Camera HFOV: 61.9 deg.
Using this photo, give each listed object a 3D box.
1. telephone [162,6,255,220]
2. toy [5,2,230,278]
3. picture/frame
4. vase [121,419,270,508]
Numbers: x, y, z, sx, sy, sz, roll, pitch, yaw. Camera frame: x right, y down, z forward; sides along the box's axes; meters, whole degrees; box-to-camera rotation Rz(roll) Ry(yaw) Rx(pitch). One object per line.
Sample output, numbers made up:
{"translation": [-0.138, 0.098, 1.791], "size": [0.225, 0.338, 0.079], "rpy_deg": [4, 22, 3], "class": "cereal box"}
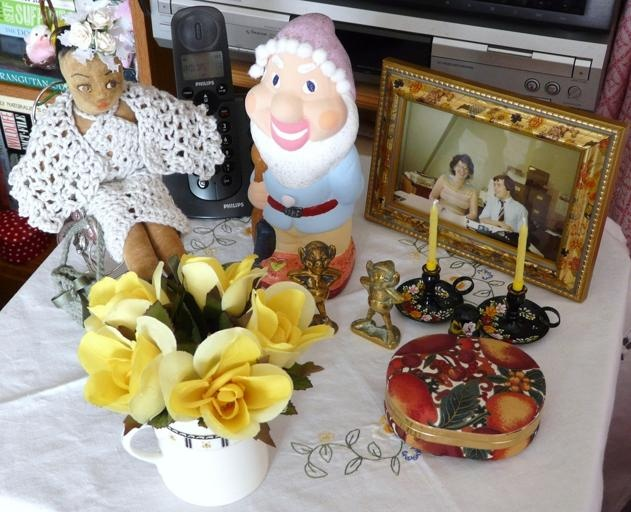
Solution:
{"translation": [-0.179, -0.244, 0.906], "size": [0.167, 0.320, 0.077], "rpy_deg": [-4, 20, 0], "class": "telephone"}
{"translation": [-0.301, -0.144, 0.797], "size": [0.336, 0.205, 0.418], "rpy_deg": [-20, 71, -16], "class": "toy"}
{"translation": [0.267, -0.105, 0.794], "size": [0.418, 0.316, 0.031], "rpy_deg": [23, 49, 21], "class": "picture/frame"}
{"translation": [-0.101, 0.196, 0.538], "size": [0.143, 0.101, 0.105], "rpy_deg": [2, 49, -1], "class": "vase"}
